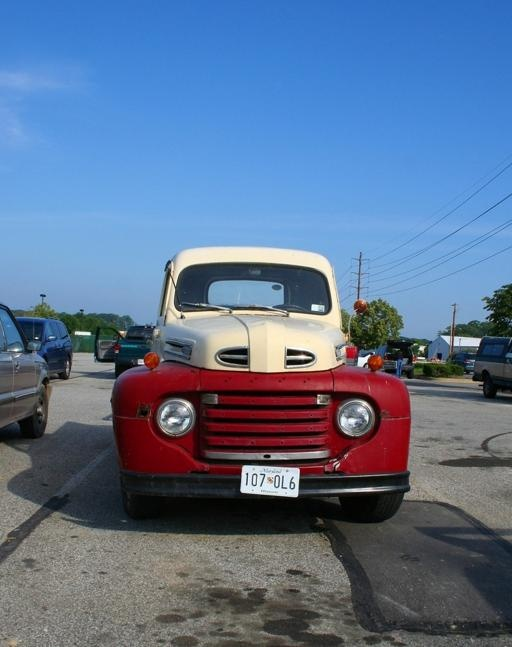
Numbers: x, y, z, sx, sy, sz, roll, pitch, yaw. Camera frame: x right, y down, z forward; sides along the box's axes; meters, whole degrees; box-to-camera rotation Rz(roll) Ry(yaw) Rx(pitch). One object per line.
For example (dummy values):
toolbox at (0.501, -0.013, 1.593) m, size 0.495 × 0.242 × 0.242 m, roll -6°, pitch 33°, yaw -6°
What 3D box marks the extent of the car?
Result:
car at (-0.077, 0.332, 4.438) m, size 2.201 × 2.530 × 2.383 m, roll 4°, pitch -6°, yaw -12°
